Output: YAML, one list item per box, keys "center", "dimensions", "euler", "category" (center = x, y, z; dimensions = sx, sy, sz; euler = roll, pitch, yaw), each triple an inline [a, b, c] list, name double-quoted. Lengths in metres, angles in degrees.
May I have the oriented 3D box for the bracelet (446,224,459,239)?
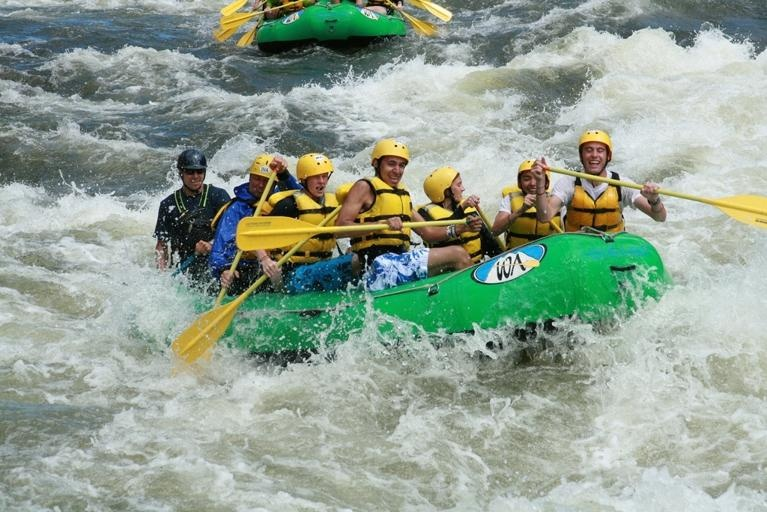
- center: [0.827, -0.277, 12.873]
  dimensions: [0.121, 0.142, 0.058]
  euler: [-6, 22, 26]
  category: "bracelet"

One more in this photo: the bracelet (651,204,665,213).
- center: [3.315, -0.567, 12.931]
  dimensions: [0.119, 0.079, 0.112]
  euler: [1, -5, -12]
  category: "bracelet"

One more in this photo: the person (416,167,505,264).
- center: [0.823, -0.275, 13.059]
  dimensions: [1.135, 0.589, 1.721]
  euler: [-3, 57, 7]
  category: "person"

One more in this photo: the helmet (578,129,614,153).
- center: [2.635, -1.441, 13.241]
  dimensions: [0.442, 0.267, 0.545]
  euler: [3, 9, 7]
  category: "helmet"

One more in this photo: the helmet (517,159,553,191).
- center: [1.849, -0.990, 13.032]
  dimensions: [0.348, 0.409, 0.342]
  euler: [-1, 4, 5]
  category: "helmet"

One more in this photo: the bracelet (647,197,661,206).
- center: [3.255, -0.638, 12.845]
  dimensions: [0.115, 0.039, 0.117]
  euler: [11, -16, -39]
  category: "bracelet"

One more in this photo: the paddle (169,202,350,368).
- center: [-1.329, 0.382, 12.941]
  dimensions: [3.385, 0.861, 0.159]
  euler: [-33, -4, -2]
  category: "paddle"

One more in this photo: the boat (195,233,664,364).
- center: [0.725, 0.524, 12.571]
  dimensions: [3.992, 0.655, 1.925]
  euler: [-10, 0, 24]
  category: "boat"

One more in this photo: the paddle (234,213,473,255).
- center: [-0.796, -0.234, 12.350]
  dimensions: [2.444, 0.377, 0.112]
  euler: [4, 18, 41]
  category: "paddle"

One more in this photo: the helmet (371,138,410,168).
- center: [0.100, -1.249, 13.191]
  dimensions: [0.446, 0.311, 0.341]
  euler: [26, 7, 25]
  category: "helmet"

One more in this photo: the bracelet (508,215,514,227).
- center: [1.575, -0.435, 13.066]
  dimensions: [0.038, 0.098, 0.076]
  euler: [24, 11, -3]
  category: "bracelet"

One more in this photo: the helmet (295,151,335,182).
- center: [-0.849, -1.108, 13.241]
  dimensions: [0.412, 0.301, 0.320]
  euler: [20, 28, 39]
  category: "helmet"
